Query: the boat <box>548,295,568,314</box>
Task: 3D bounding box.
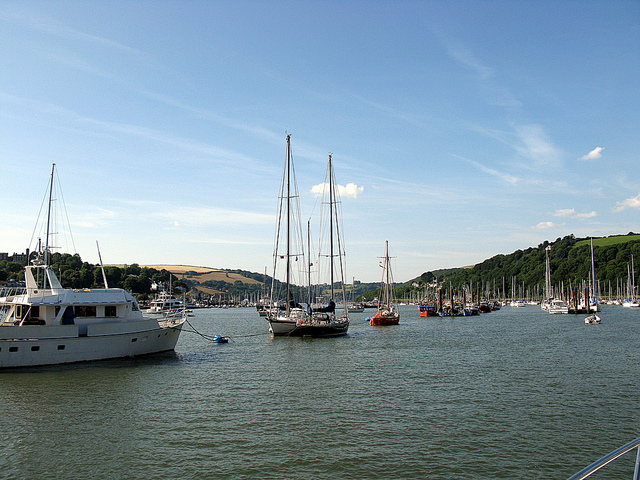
[{"bbox_3d":[64.539,18.331,145.538,3.893,3.571,5.750,1,-2,9],"label":"boat"}]
